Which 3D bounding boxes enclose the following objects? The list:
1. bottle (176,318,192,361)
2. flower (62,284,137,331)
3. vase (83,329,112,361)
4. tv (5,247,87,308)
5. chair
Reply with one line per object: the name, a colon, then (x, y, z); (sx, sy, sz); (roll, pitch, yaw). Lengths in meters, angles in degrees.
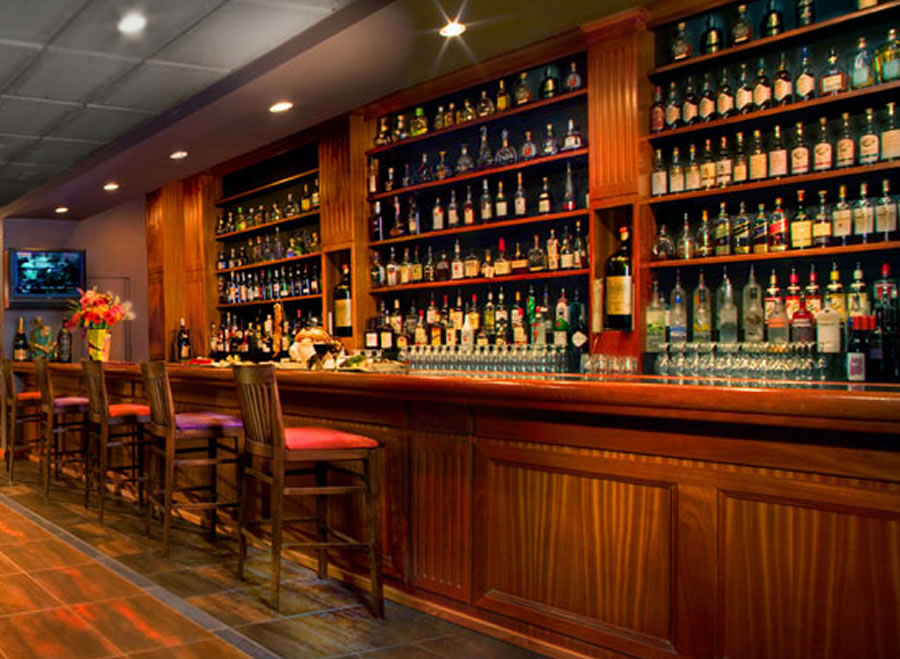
bottle: (-3.003, 0.117, 8.067); (0.213, 0.462, 0.111); (-1, 1, 3)
flower: (-3.810, -0.232, 7.753); (0.604, 0.410, 0.604); (3, 3, 28)
vase: (-2.992, 0.136, 6.112); (0.158, 0.280, 0.482); (-2, 1, -24)
tv: (-5.126, -0.638, 9.082); (0.817, 0.688, 0.443); (1, 8, -13)
chair: (-1.117, 0.744, 3.958); (0.693, 1.176, 2.034); (-2, 2, -41)
